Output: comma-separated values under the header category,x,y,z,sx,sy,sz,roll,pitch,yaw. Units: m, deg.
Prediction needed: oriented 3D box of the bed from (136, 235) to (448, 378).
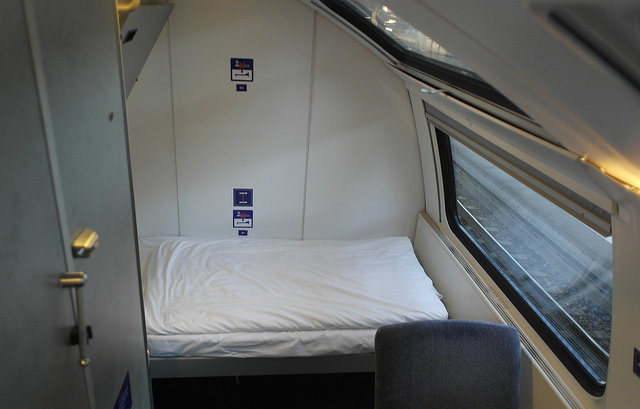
category,x,y,z,sx,sy,sz,roll,pitch,yaw
bed,-0.234,1.010,4.139,2.533,1.390,0.567,-1,-51,-8
